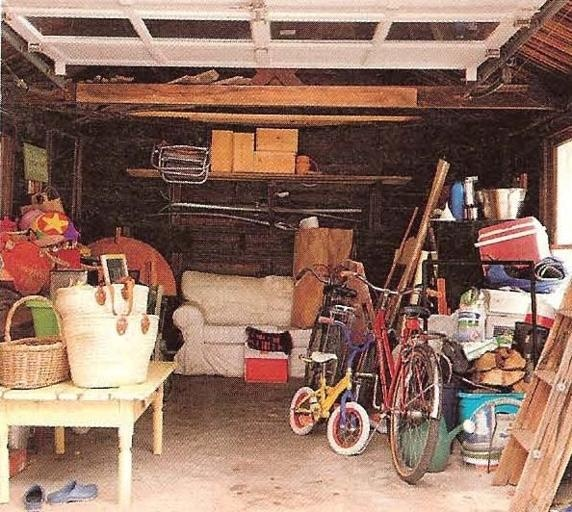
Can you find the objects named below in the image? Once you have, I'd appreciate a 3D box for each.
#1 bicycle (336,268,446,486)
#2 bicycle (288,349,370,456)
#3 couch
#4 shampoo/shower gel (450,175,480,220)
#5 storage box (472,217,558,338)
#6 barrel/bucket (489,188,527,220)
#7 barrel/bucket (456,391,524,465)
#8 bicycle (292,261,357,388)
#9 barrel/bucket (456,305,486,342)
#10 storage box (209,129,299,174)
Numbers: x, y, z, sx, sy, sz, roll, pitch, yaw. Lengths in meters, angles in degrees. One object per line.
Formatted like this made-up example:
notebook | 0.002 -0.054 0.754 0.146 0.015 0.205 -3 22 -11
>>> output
bicycle | 0.500 0.848 4.755 0.624 0.827 1.370 4 1 -4
bicycle | 0.332 1.119 4.962 0.418 0.546 0.834 13 -9 -28
couch | -0.454 0.751 7.370 1.471 1.083 0.819 2 1 -4
shampoo/shower gel | 1.657 -0.544 6.359 0.239 0.394 0.189 2 6 12
storage box | 1.760 0.182 5.205 0.578 0.929 0.569 -16 -24 16
barrel/bucket | 2.023 -0.458 6.248 0.288 0.422 0.314 2 3 0
barrel/bucket | 1.331 1.159 4.650 0.487 0.473 0.401 2 -2 -7
bicycle | 0.432 0.526 6.186 0.505 0.686 1.104 13 8 -4
barrel/bucket | 1.378 0.485 5.001 0.217 0.266 0.226 1 6 0
storage box | -0.358 -1.166 7.547 0.957 0.504 0.204 0 6 -8
